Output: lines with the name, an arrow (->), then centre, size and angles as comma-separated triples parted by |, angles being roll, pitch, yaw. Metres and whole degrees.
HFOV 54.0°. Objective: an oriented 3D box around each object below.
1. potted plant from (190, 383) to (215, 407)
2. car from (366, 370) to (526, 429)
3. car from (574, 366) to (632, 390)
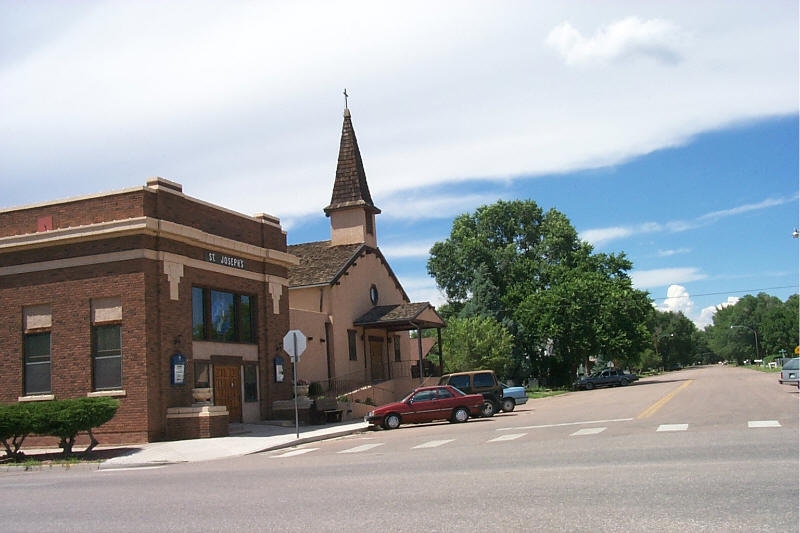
potted plant -> -8.067, 5.233, 31.998 | 0.738, 0.691, 0.919 | -3, -6, -2
car -> 1.852, 5.713, 33.229 | 5.362, 1.817, 2.535 | -1, -9, 1
car -> 16.916, 9.297, 64.875 | 5.121, 1.597, 1.798 | 0, -15, -26
